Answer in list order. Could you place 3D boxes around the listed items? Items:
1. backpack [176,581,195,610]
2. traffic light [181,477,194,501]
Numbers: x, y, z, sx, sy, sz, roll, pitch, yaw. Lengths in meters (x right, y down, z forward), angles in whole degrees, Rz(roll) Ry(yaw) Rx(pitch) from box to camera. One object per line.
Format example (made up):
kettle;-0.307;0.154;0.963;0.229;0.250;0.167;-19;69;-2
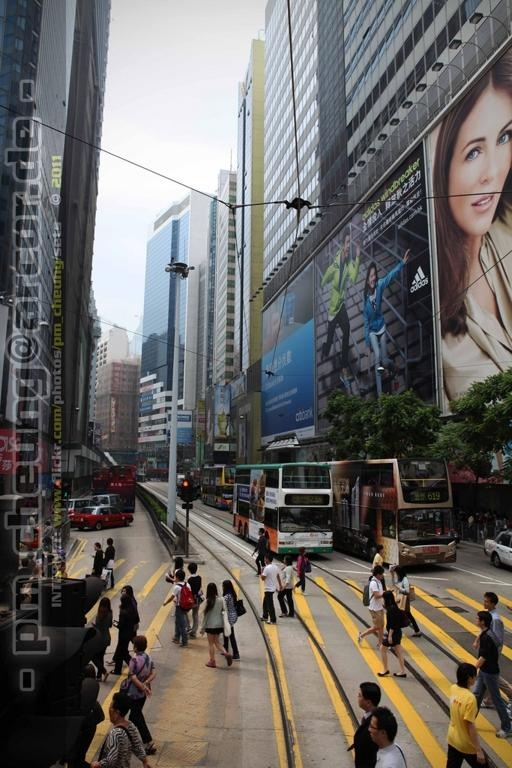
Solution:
backpack;-1.621;4.729;11.141;0.323;0.747;0.452;-5;-8;31
traffic light;-3.114;4.728;22.212;0.581;1.075;0.642;-1;-8;-11
